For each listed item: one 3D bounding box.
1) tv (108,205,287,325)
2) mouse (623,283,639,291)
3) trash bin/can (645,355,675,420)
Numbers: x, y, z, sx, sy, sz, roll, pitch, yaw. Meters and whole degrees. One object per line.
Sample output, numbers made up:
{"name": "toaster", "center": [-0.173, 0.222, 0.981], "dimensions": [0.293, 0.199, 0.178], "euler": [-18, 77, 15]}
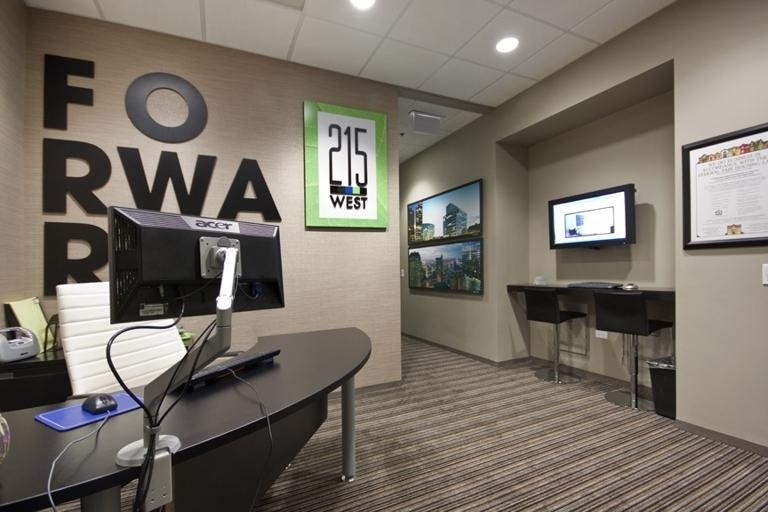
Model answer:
{"name": "tv", "center": [-1.184, 0.054, 2.948], "dimensions": [1.191, 0.659, 0.340], "euler": [0, 2, -26]}
{"name": "mouse", "center": [2.431, 0.302, 4.761], "dimensions": [0.151, 0.037, 0.546], "euler": [1, 2, 27]}
{"name": "trash bin/can", "center": [2.627, 1.229, 4.474], "dimensions": [0.284, 0.506, 0.274], "euler": [-1, 2, -39]}
